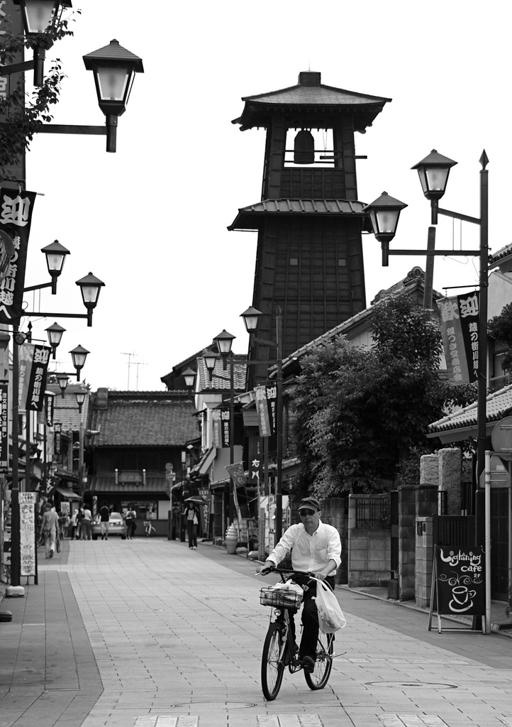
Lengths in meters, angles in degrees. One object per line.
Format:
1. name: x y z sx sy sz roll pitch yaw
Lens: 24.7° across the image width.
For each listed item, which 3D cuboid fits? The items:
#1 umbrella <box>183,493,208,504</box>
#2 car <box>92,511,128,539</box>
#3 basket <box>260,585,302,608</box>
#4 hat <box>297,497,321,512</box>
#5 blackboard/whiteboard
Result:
1. umbrella: -2.891 6.405 54.573 0.929 0.428 1.033 2 -6 6
2. car: -8.247 9.560 68.604 1.171 1.067 2.984 0 0 0
3. basket: 0.201 1.753 8.792 0.314 0.202 0.500 0 -12 2
4. hat: 0.437 1.133 9.363 0.156 0.122 0.243 1 -12 -1
5. blackboard/whiteboard: 2.493 2.672 14.100 0.610 0.950 0.538 -5 -29 15
